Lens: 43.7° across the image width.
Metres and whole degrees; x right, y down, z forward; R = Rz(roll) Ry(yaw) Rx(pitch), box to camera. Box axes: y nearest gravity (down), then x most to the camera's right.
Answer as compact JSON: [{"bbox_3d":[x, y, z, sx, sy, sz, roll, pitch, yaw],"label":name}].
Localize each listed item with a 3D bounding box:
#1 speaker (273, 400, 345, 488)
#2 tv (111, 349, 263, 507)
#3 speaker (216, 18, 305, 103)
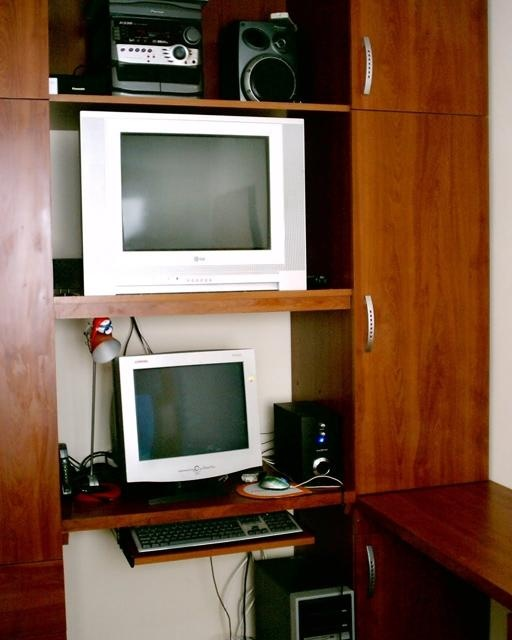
[{"bbox_3d":[0.153,0.392,2.034,0.116,0.216,0.254,1,-3,-17],"label":"speaker"},{"bbox_3d":[-0.236,0.243,2.119,0.549,0.675,0.338,0,-8,-20],"label":"tv"},{"bbox_3d":[0.033,-0.760,1.949,0.183,0.331,0.142,0,-13,-9],"label":"speaker"}]
